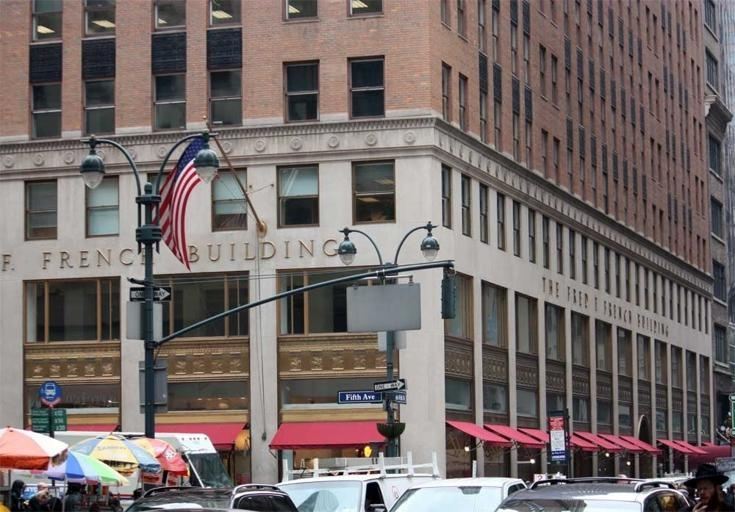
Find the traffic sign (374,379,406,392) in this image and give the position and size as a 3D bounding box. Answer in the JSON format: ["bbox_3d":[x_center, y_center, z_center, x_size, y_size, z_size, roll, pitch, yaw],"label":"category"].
[{"bbox_3d":[0.821,5.391,84.202,1.312,0.566,0.689,1,-13,-7],"label":"traffic sign"}]

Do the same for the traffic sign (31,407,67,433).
[{"bbox_3d":[-12.282,6.357,78.325,1.188,0.805,0.173,-1,1,-3],"label":"traffic sign"}]

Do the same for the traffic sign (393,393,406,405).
[{"bbox_3d":[1.219,5.892,84.393,0.382,0.379,0.558,-6,-14,20],"label":"traffic sign"}]

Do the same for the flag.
[{"bbox_3d":[-7.599,-2.478,83.123,1.837,5.844,2.015,9,-9,-33],"label":"flag"}]
